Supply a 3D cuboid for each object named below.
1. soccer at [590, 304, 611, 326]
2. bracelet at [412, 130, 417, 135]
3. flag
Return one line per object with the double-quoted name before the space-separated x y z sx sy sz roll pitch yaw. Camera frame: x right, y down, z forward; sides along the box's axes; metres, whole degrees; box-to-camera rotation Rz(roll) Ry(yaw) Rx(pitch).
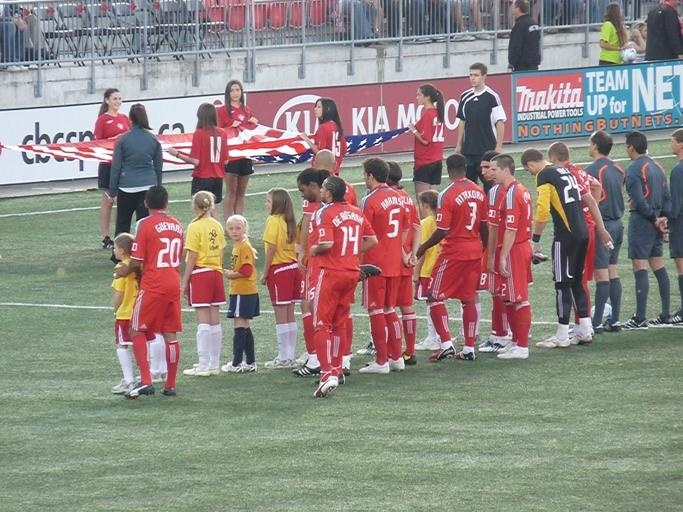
"soccer" 3.351 0.813 24.306 0.169 0.311 0.134 7 6 -2
"bracelet" 1.045 -1.716 26.913 0.066 0.092 0.032 -3 17 -3
"flag" -2.301 -1.686 28.256 5.099 0.515 0.786 -5 -11 -24
